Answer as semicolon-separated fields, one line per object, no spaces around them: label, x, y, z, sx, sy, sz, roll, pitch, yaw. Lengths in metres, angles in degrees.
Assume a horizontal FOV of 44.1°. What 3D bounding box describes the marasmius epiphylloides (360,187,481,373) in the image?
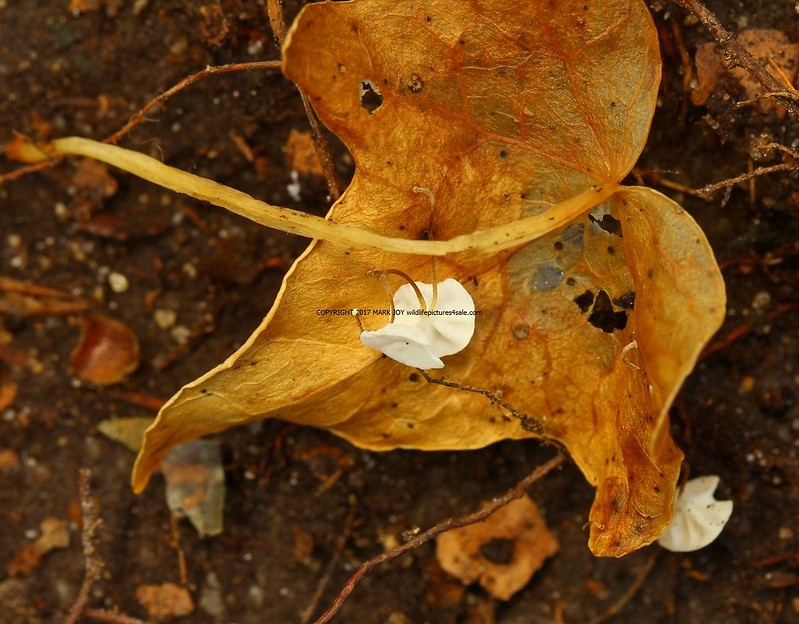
marasmius epiphylloides;0.052;-0.116;2.972;0.224;0.283;0.409;18;44;-2
